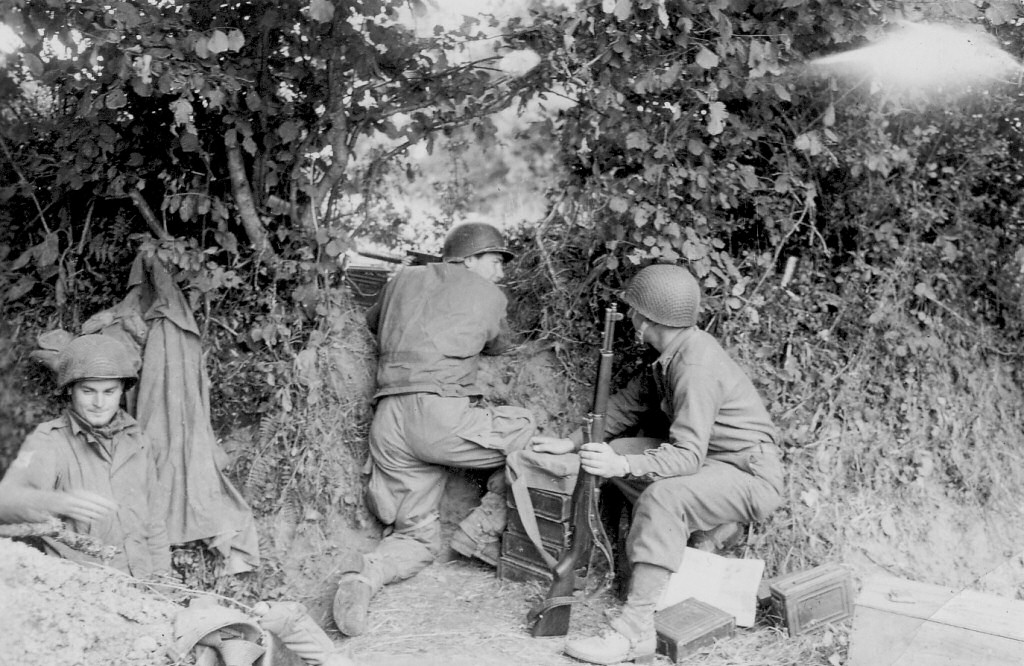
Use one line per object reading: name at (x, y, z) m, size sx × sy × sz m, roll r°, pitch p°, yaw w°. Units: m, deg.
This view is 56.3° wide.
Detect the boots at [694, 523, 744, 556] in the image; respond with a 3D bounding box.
boots at (1.464, 1.454, 6.832) m, size 0.326 × 0.130 × 0.216 m, roll -5°, pitch -5°, yaw -17°

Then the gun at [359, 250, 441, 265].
gun at (-0.959, -0.626, 7.950) m, size 0.612 × 0.126 × 0.102 m, roll 7°, pitch -8°, yaw 5°

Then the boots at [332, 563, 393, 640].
boots at (-1.047, 1.770, 6.509) m, size 0.335 × 0.193 × 0.633 m, roll 11°, pitch 31°, yaw 13°

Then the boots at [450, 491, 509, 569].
boots at (-0.223, 1.536, 7.132) m, size 0.158 × 0.356 × 0.446 m, roll 55°, pitch 8°, yaw 21°

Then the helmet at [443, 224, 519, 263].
helmet at (-0.301, -0.688, 7.412) m, size 0.433 × 0.210 × 0.315 m, roll -1°, pitch -2°, yaw -2°
